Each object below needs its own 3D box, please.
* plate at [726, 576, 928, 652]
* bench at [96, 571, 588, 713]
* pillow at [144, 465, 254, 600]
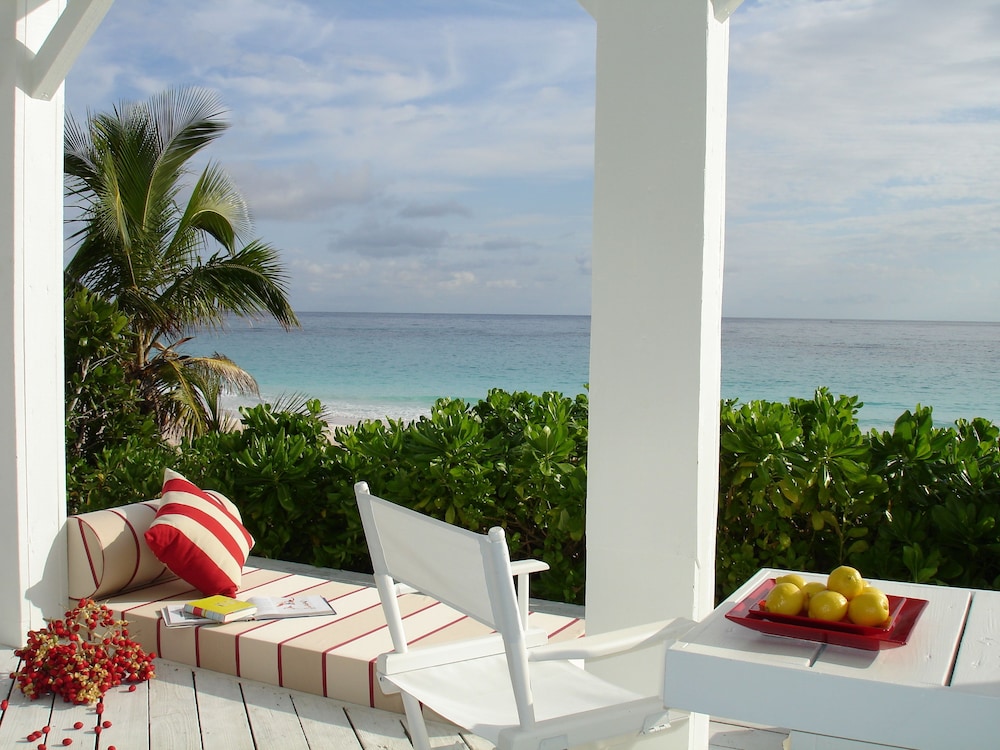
[{"bbox_3d":[0.755,0.526,1.898,0.299,0.074,0.322,2,2,32],"label":"plate"},{"bbox_3d":[-0.823,1.157,3.598,1.655,0.183,0.873,-5,-7,36],"label":"bench"},{"bbox_3d":[-1.345,0.729,3.677,0.489,0.160,0.526,39,24,-26],"label":"pillow"}]
